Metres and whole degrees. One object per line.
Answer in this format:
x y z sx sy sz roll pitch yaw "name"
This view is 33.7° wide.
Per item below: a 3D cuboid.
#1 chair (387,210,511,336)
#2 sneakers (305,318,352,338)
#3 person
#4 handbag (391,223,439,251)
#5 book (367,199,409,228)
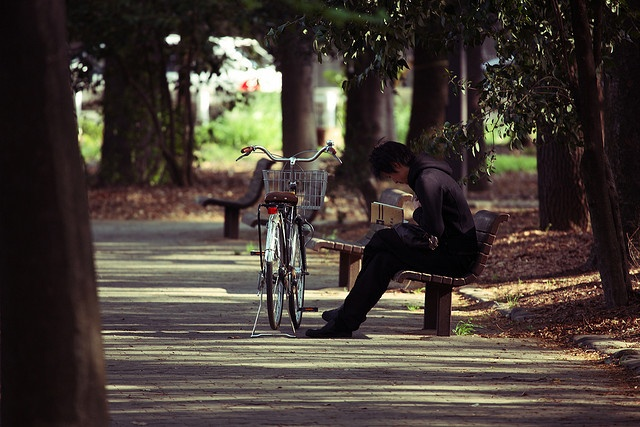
1.164 0.550 11.085 1.184 1.286 0.987 4 11 -18 "chair"
0.095 1.159 10.705 0.485 0.202 0.181 2 -4 3 "sneakers"
0.832 0.276 10.692 1.501 1.956 0.552 1 9 8 "person"
0.897 0.247 10.742 0.389 0.211 0.524 3 17 1 "handbag"
0.759 0.028 12.108 0.389 0.268 0.090 12 9 41 "book"
